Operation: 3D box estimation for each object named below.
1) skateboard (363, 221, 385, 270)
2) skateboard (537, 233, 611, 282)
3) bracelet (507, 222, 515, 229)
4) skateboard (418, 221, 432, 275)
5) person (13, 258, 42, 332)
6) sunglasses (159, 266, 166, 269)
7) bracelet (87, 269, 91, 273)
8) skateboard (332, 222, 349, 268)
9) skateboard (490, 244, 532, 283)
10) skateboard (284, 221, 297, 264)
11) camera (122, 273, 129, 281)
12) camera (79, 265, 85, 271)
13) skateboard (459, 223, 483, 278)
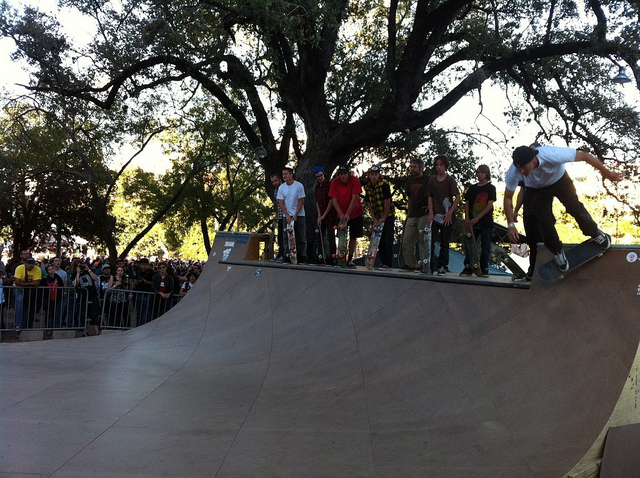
[{"bbox_3d":[0.983,0.037,8.659,0.225,1.040,0.141,-7,-37,44],"label":"skateboard"},{"bbox_3d":[2.797,0.249,5.541,0.646,0.211,0.096,-35,-53,13],"label":"skateboard"},{"bbox_3d":[2.465,-0.150,6.472,0.077,0.055,0.084,8,-16,-6],"label":"bracelet"},{"bbox_3d":[1.686,0.162,8.013,0.159,0.788,0.462,0,6,11],"label":"skateboard"},{"bbox_3d":[-6.098,1.185,10.510,0.551,1.445,0.668,-5,7,-32],"label":"person"},{"bbox_3d":[-3.708,0.711,11.806,0.129,0.056,0.094,-1,6,1],"label":"sunglasses"},{"bbox_3d":[-5.291,0.779,11.545,0.065,0.073,0.119,3,-2,-16],"label":"bracelet"},{"bbox_3d":[0.412,0.130,8.997,0.218,0.958,0.130,-3,-9,25],"label":"skateboard"},{"bbox_3d":[2.715,0.350,7.095,0.136,0.817,0.241,-33,-11,-38],"label":"skateboard"},{"bbox_3d":[-0.541,0.086,9.643,0.109,0.857,0.158,17,-30,-42],"label":"skateboard"},{"bbox_3d":[-4.969,1.032,12.852,0.079,0.173,0.306,-11,0,-20],"label":"camera"},{"bbox_3d":[-5.205,0.684,11.038,0.101,0.089,0.064,3,-7,-5],"label":"camera"},{"bbox_3d":[2.418,0.227,8.012,0.150,0.981,0.185,20,-37,-33],"label":"skateboard"}]
